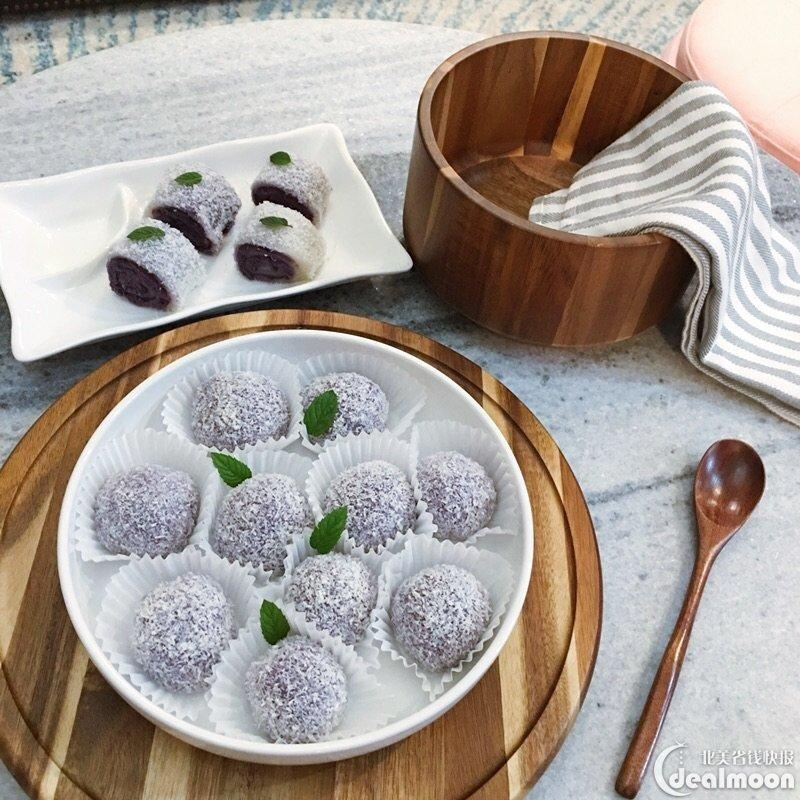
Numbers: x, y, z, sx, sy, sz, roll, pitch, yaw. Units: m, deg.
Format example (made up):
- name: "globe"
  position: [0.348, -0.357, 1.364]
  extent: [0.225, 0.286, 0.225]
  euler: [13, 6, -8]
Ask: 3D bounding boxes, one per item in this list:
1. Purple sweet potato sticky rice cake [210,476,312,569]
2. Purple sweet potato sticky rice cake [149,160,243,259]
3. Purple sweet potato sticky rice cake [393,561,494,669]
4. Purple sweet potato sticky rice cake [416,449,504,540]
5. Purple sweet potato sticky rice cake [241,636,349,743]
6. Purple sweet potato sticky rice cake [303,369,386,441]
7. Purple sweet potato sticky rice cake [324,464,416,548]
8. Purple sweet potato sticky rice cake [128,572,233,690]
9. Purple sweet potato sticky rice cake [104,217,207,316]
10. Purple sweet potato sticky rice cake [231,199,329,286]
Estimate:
- name: "Purple sweet potato sticky rice cake"
  position: [-0.153, 0.126, 0.978]
  extent: [0.106, 0.077, 0.091]
  euler: [-8, 63, -18]
- name: "Purple sweet potato sticky rice cake"
  position: [-0.288, -0.270, 1.285]
  extent: [0.127, 0.073, 0.118]
  euler: [-8, 46, -9]
- name: "Purple sweet potato sticky rice cake"
  position: [0.039, 0.205, 0.902]
  extent: [0.096, 0.055, 0.093]
  euler: [-1, 47, -2]
- name: "Purple sweet potato sticky rice cake"
  position: [0.063, 0.099, 0.988]
  extent: [0.091, 0.055, 0.086]
  euler: [-1, 52, -9]
- name: "Purple sweet potato sticky rice cake"
  position: [-0.094, 0.266, 0.856]
  extent: [0.092, 0.056, 0.087]
  euler: [-1, 50, -6]
- name: "Purple sweet potato sticky rice cake"
  position: [-0.061, 0.015, 1.090]
  extent: [0.080, 0.047, 0.087]
  euler: [33, 49, 27]
- name: "Purple sweet potato sticky rice cake"
  position: [-0.032, 0.109, 0.976]
  extent: [0.092, 0.051, 0.089]
  euler: [11, 46, 12]
- name: "Purple sweet potato sticky rice cake"
  position: [-0.204, 0.220, 0.891]
  extent: [0.099, 0.055, 0.096]
  euler: [1, 55, -8]
- name: "Purple sweet potato sticky rice cake"
  position: [-0.311, -0.175, 1.204]
  extent: [0.102, 0.080, 0.104]
  euler: [17, 49, 9]
- name: "Purple sweet potato sticky rice cake"
  position: [-0.171, -0.180, 1.285]
  extent: [0.129, 0.131, 0.078]
  euler: [7, 88, -9]
